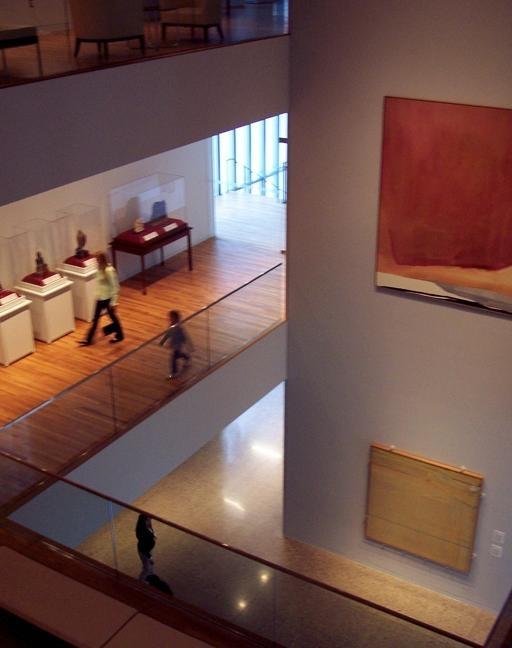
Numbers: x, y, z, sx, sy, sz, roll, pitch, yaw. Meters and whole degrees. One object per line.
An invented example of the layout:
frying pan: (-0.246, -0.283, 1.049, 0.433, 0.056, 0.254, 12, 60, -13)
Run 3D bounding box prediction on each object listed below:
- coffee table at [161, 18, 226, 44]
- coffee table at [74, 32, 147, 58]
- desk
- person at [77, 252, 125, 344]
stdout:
coffee table: (-0.707, -3.304, 6.391, 0.707, 0.242, 0.804, -3, 22, -6)
coffee table: (-1.389, -2.654, 5.402, 0.682, 0.245, 0.677, -6, 23, -12)
desk: (-1.895, -1.091, 9.930, 0.620, 0.841, 1.140, 25, 44, 27)
person: (-2.220, -0.333, 8.001, 0.723, 1.360, 0.481, -18, 59, -24)
